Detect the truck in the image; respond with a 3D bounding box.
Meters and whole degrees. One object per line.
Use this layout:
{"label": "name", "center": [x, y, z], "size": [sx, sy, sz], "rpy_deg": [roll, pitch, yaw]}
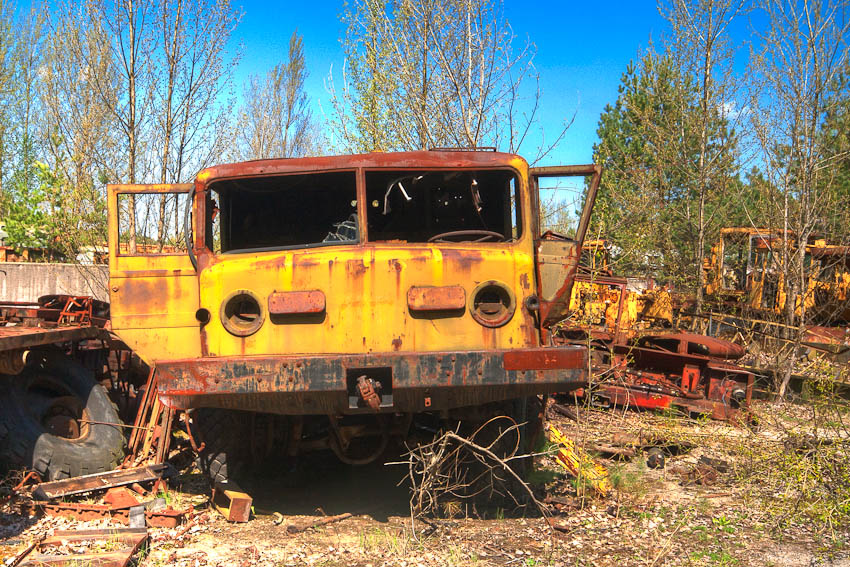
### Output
{"label": "truck", "center": [-0.942, 0.396, 10.053], "size": [4.253, 3.186, 5.334], "rpy_deg": [-1, -7, -4]}
